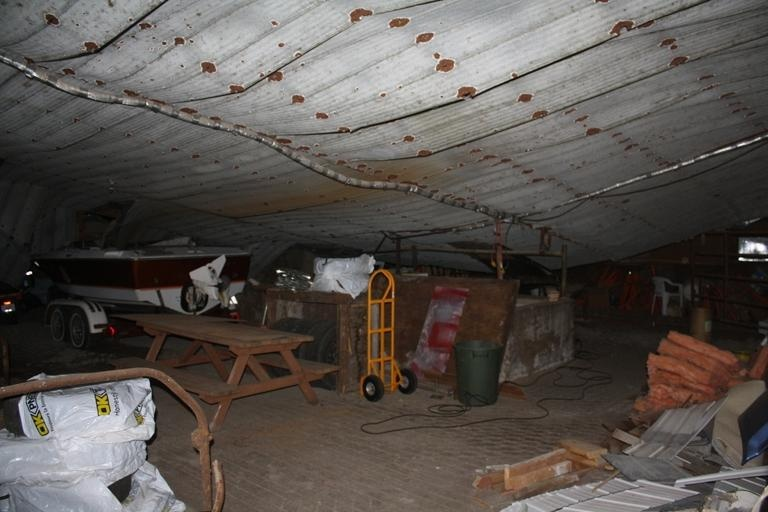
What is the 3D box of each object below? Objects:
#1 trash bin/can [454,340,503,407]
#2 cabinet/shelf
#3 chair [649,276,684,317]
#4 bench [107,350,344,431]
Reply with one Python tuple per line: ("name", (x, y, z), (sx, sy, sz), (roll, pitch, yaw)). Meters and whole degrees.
("trash bin/can", (1.215, 1.547, 6.709), (0.591, 0.766, 0.274), (-1, 12, 5))
("cabinet/shelf", (-0.820, 1.196, 7.156), (2.053, 1.242, 1.014), (5, 6, 38))
("chair", (7.417, 1.026, 13.565), (0.787, 0.995, 1.069), (3, 11, 26))
("bench", (-2.075, 1.544, 6.838), (2.003, 0.952, 1.898), (6, 11, 43))
